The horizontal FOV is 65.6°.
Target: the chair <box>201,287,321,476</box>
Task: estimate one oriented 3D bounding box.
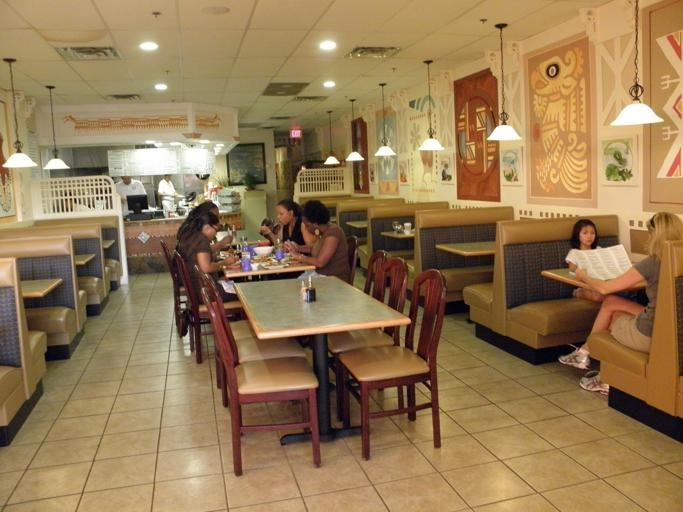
[{"bbox_3d":[-0.550,0.838,3.766,0.718,1.253,0.616,-6,15,-13],"label":"chair"}]

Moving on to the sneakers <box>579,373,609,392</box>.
[{"bbox_3d":[2.210,1.107,4.639,0.107,0.095,0.226,-2,8,-28],"label":"sneakers"}]

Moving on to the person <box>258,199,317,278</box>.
[{"bbox_3d":[-0.675,-0.111,6.670,0.721,1.099,0.587,-11,12,-21],"label":"person"}]

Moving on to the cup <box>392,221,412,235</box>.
[{"bbox_3d":[0.927,-0.423,8.060,0.199,0.199,0.340,-2,6,-32],"label":"cup"}]

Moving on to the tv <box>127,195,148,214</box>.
[{"bbox_3d":[-4.328,-1.083,11.187,0.548,0.478,0.170,-2,7,-16],"label":"tv"}]

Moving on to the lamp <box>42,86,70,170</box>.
[{"bbox_3d":[-5.601,-2.308,10.165,0.366,1.453,4.062,-11,16,-27],"label":"lamp"}]
